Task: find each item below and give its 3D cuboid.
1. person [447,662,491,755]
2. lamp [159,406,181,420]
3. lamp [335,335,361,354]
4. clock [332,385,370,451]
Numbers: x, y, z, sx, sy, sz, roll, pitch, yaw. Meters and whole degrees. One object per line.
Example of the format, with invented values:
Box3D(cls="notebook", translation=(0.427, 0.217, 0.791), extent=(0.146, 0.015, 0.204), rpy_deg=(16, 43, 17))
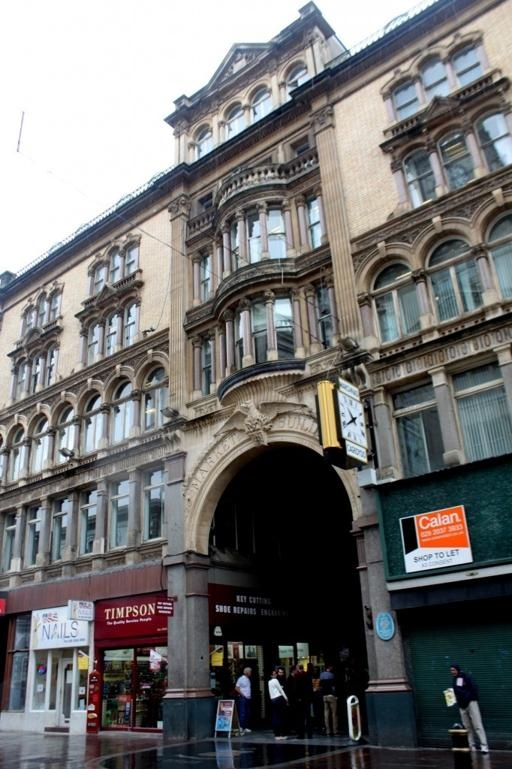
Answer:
Box3D(cls="person", translation=(3.460, 5.251, 9.557), extent=(0.369, 1.249, 0.837), rpy_deg=(-12, -25, 14))
Box3D(cls="lamp", translation=(-2.723, 0.837, 19.062), extent=(0.406, 0.200, 0.509), rpy_deg=(-20, -40, 30))
Box3D(cls="lamp", translation=(2.389, -0.974, 14.961), extent=(0.488, 0.479, 0.414), rpy_deg=(-13, -8, -14))
Box3D(cls="clock", translation=(2.072, 0.780, 12.930), extent=(0.186, 1.335, 0.958), rpy_deg=(-23, -44, 26))
